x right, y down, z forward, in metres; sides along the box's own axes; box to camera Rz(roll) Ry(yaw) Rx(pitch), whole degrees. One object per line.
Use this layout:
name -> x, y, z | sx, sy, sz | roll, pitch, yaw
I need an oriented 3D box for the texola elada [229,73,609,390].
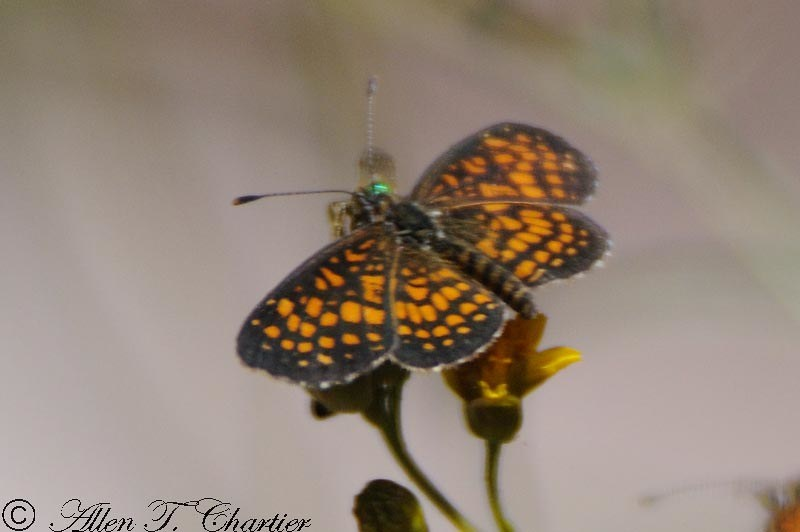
texola elada -> 0.007, -0.018, 1.400 | 0.491, 0.337, 0.139 | -34, -21, -26
